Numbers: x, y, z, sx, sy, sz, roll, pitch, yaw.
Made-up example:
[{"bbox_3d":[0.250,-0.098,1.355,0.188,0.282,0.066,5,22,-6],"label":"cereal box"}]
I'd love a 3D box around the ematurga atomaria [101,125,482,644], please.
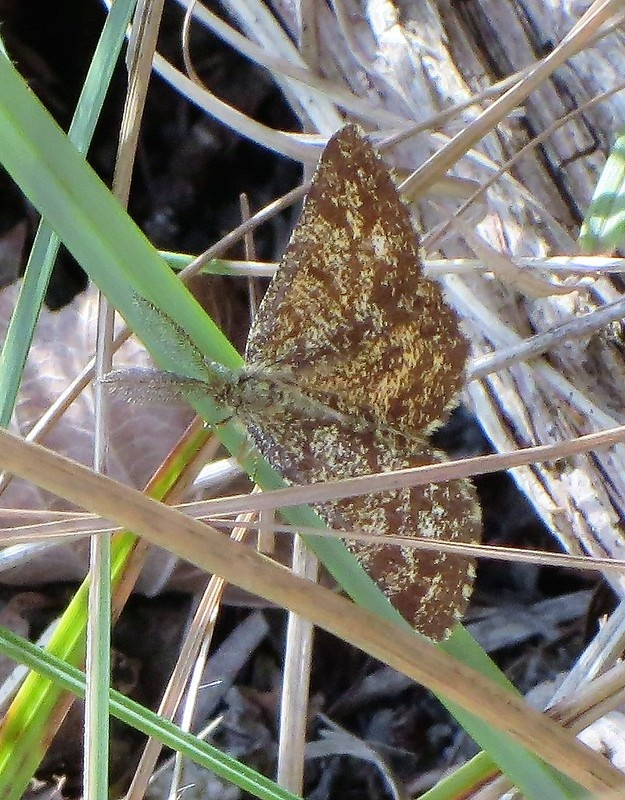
[{"bbox_3d":[0.028,-0.003,0.397,0.162,0.128,0.105,39,-58,-25],"label":"ematurga atomaria"}]
